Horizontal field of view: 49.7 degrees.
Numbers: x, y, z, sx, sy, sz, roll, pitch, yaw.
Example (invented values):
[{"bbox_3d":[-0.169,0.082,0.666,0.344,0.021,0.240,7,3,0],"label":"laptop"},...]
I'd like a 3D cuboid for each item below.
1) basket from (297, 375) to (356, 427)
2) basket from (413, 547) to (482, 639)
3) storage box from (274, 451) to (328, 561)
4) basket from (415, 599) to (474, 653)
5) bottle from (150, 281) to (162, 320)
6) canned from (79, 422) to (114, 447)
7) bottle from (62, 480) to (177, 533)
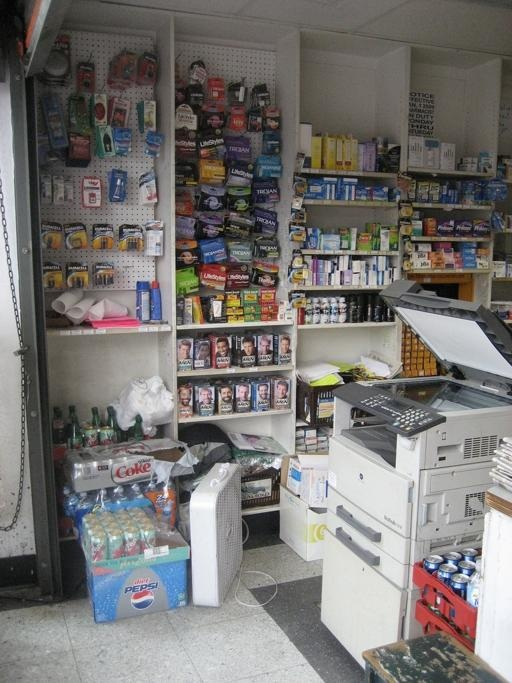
[{"bbox_3d":[0.437,0.358,3.534,0.315,0.308,0.321,-5,12,-26],"label":"basket"},{"bbox_3d":[0.593,0.772,1.676,0.225,0.087,0.158,1,2,26],"label":"basket"},{"bbox_3d":[0.264,0.955,3.185,0.275,0.477,0.485,-3,11,-21],"label":"storage box"},{"bbox_3d":[0.584,0.877,1.727,0.118,0.057,0.171,3,8,-17],"label":"basket"},{"bbox_3d":[-0.578,-0.229,3.187,0.067,0.229,0.062,1,4,0],"label":"bottle"},{"bbox_3d":[-0.888,0.519,3.101,0.173,0.128,0.101,0,9,-5],"label":"canned"},{"bbox_3d":[-0.719,0.838,2.805,0.532,0.296,0.287,-2,5,-14],"label":"bottle"}]
